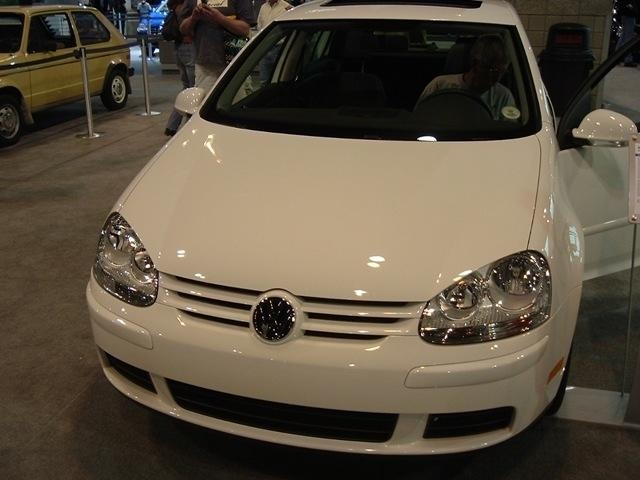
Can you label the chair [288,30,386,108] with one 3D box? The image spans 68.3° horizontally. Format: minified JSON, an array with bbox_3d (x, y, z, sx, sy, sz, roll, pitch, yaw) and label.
[{"bbox_3d":[0.109,-0.936,2.860,0.390,0.385,0.756,2,35,8],"label":"chair"}]
